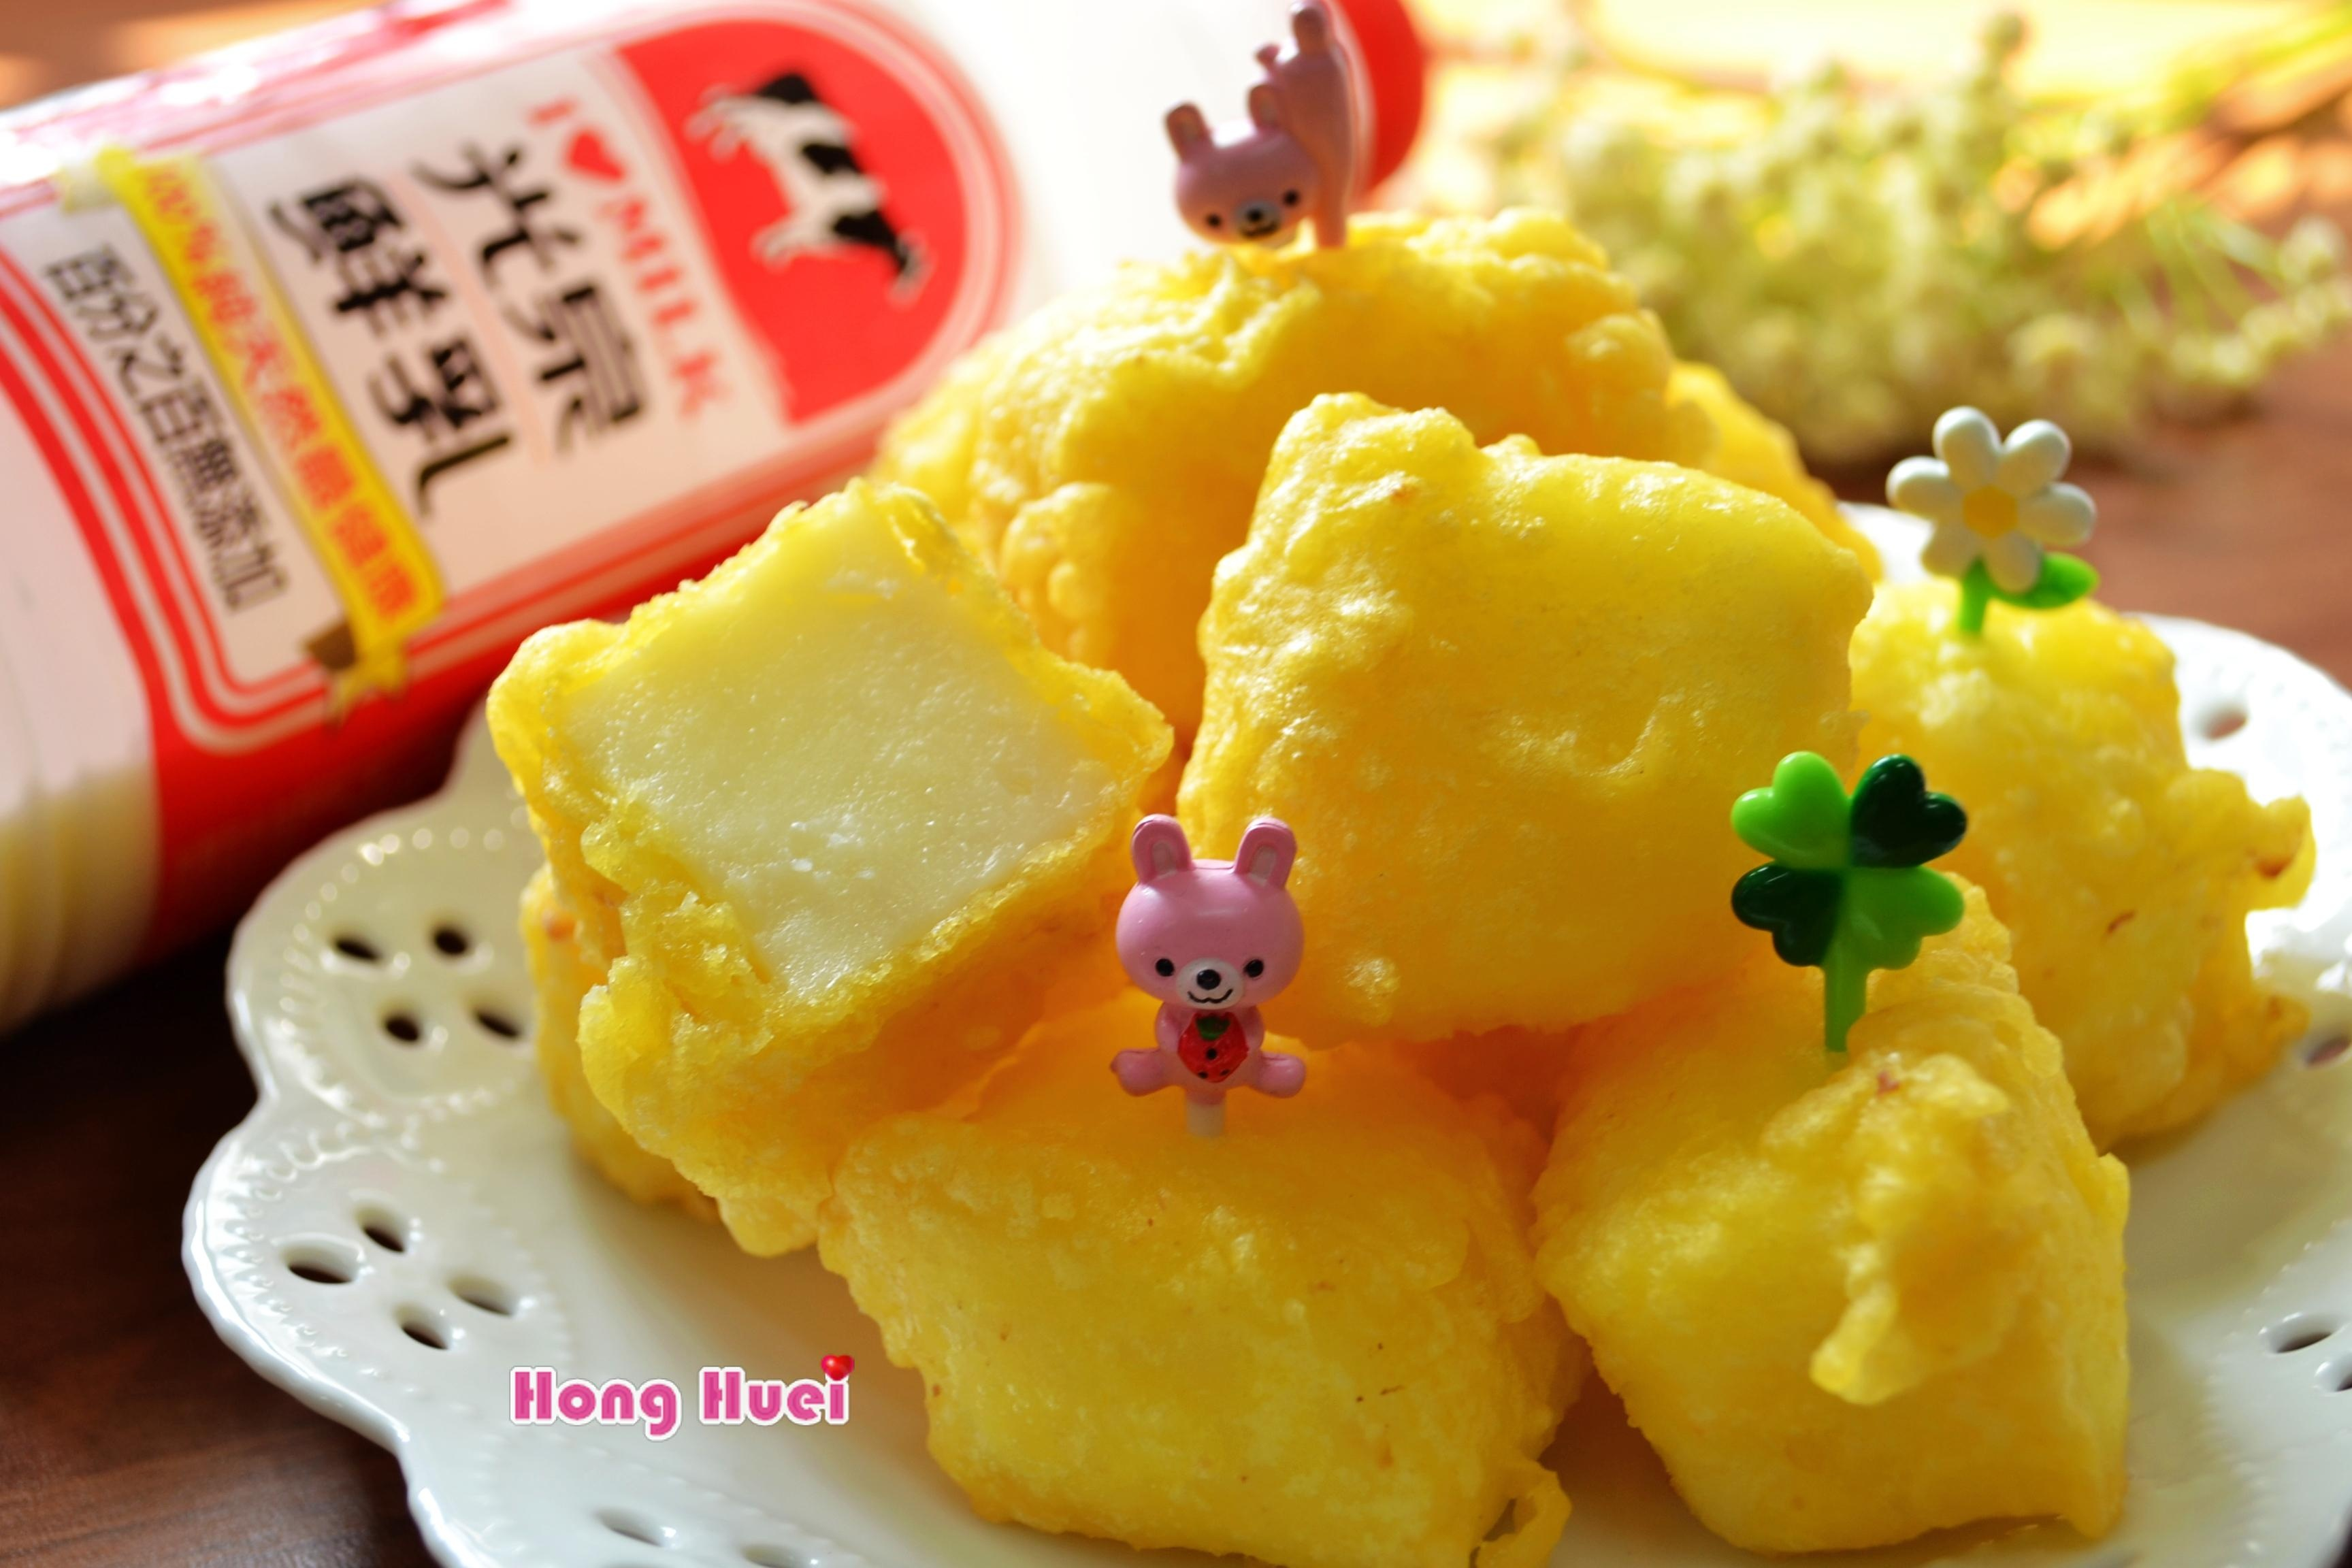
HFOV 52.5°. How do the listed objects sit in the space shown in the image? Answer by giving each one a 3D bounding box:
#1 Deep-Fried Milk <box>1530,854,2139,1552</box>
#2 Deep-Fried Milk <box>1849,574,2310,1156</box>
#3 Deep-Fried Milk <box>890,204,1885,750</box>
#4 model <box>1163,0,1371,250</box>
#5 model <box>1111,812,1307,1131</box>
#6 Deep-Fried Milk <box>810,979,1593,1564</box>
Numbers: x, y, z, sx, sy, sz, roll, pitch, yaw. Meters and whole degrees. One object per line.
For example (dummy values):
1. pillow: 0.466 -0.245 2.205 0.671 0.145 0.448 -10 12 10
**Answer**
1. Deep-Fried Milk: 0.272 0.199 1.008 0.229 0.162 0.231 -10 44 -6
2. Deep-Fried Milk: 0.437 0.033 1.137 0.081 0.276 0.240 -22 53 43
3. Deep-Fried Milk: 0.087 -0.169 1.192 0.352 0.115 0.320 -6 54 -1
4. model: 0.044 -0.315 1.164 0.097 0.111 0.063 -12 44 -7
5. model: 0.013 0.082 1.009 0.080 0.120 0.076 -1 44 4
6. Deep-Fried Milk: 0.016 0.211 1.036 0.317 0.114 0.214 9 45 14
